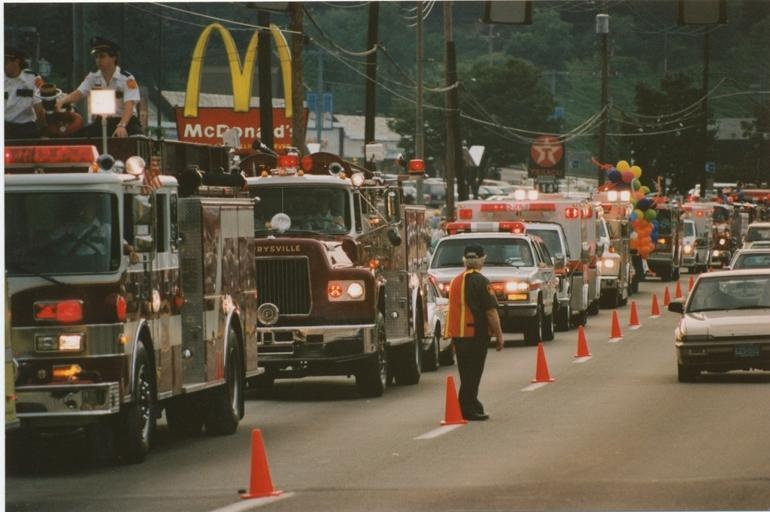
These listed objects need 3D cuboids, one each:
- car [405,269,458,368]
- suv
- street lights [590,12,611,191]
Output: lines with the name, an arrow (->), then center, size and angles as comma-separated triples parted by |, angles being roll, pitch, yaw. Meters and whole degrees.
car -> 0.988, 1.355, 25.525 | 0.801, 1.641, 1.614 | 1, 0, 2
suv -> 2.450, 0.389, 30.770 | 2.742, 2.453, 5.172 | 0, 6, 13
street lights -> 11.038, -9.296, 66.787 | 0.828, 5.880, 0.738 | -2, 7, -27
